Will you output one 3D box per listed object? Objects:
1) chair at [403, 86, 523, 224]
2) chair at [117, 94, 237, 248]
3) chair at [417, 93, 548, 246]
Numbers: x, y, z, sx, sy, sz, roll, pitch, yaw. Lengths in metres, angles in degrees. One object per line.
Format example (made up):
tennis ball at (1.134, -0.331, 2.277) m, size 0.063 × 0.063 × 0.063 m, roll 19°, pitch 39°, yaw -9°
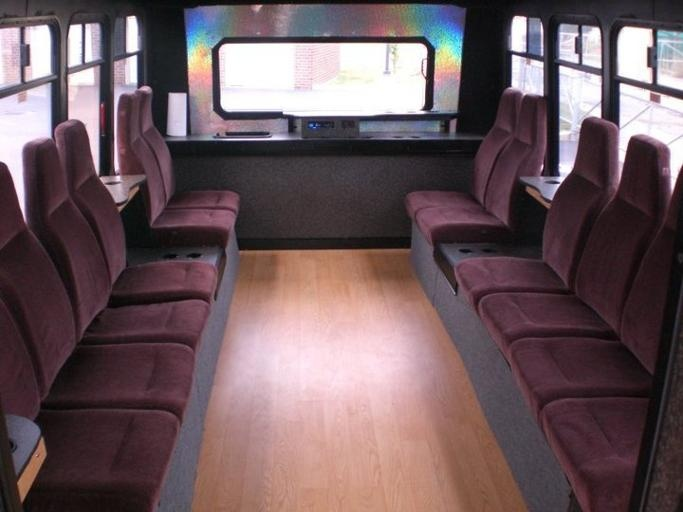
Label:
chair at (0.946, -0.874, 4.449) m, size 0.898 × 1.282 × 1.095 m, roll 2°, pitch 22°, yaw 0°
chair at (-1.141, -0.518, 4.082) m, size 0.955 × 1.345 × 1.378 m, roll -1°, pitch 14°, yaw -11°
chair at (0.975, -0.574, 4.050) m, size 0.965 × 1.230 × 1.468 m, roll -2°, pitch 17°, yaw 0°
